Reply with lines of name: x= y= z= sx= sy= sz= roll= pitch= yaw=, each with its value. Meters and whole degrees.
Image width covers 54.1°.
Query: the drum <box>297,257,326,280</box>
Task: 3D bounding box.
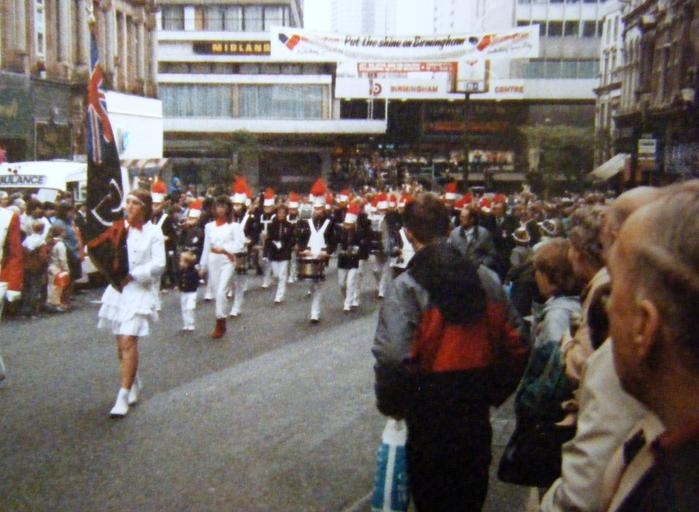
drum: x=-0.678 y=0.225 z=12.233 sx=0.390 sy=0.312 sz=0.412 roll=-1 pitch=0 yaw=0

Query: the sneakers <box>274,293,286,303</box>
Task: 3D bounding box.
sneakers: x=-1.440 y=0.867 z=13.996 sx=0.105 sy=0.153 sz=0.343 roll=-1 pitch=-8 yaw=3

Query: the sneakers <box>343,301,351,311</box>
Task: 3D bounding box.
sneakers: x=-0.037 y=0.879 z=11.880 sx=0.129 sy=0.185 sz=0.053 roll=3 pitch=-1 yaw=23

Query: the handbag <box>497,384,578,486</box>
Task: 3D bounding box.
handbag: x=0.921 y=0.999 z=3.630 sx=0.464 sy=0.477 sz=0.369 roll=2 pitch=-6 yaw=5
